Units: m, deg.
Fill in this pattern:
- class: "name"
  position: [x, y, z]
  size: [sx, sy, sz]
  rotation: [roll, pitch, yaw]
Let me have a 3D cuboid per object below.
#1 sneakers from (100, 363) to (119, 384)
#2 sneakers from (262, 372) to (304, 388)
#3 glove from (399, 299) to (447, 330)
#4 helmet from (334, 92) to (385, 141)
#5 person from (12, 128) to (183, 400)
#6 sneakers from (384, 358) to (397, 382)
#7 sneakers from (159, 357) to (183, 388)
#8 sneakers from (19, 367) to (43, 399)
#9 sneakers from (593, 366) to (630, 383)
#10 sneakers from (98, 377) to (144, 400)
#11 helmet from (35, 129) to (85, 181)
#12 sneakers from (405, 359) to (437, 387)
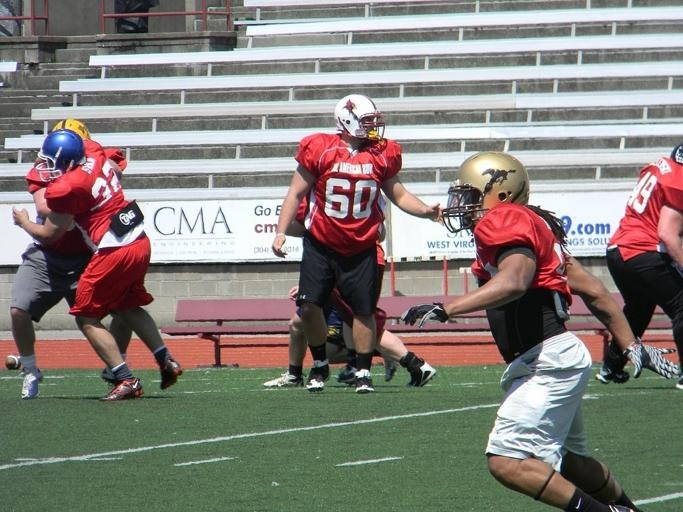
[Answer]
- class: "sneakers"
  position: [-2.327, 1.212, 15.351]
  size: [0.111, 0.122, 0.283]
  rotation: [20, 3, -29]
- class: "sneakers"
  position: [-0.579, 1.322, 16.048]
  size: [0.479, 0.173, 0.150]
  rotation: [3, -2, 1]
- class: "glove"
  position: [0.667, 0.489, 12.364]
  size: [0.323, 0.176, 0.130]
  rotation: [2, -1, -10]
- class: "helmet"
  position: [0.166, -1.388, 15.314]
  size: [0.571, 0.394, 0.402]
  rotation: [3, 6, 12]
- class: "person"
  position: [-2.357, 0.123, 15.092]
  size: [1.376, 2.636, 0.587]
  rotation: [-1, 13, 0]
- class: "sneakers"
  position: [0.510, 1.226, 16.177]
  size: [0.109, 0.277, 0.139]
  rotation: [6, 16, 17]
- class: "sneakers"
  position: [-1.712, 1.205, 15.245]
  size: [0.181, 0.377, 0.138]
  rotation: [37, 53, 1]
- class: "sneakers"
  position: [-3.137, 1.316, 15.402]
  size: [0.138, 0.360, 0.183]
  rotation: [-3, -13, 42]
- class: "sneakers"
  position: [2.776, 1.234, 15.610]
  size: [0.428, 0.171, 0.141]
  rotation: [-3, 9, 2]
- class: "sneakers"
  position: [-2.224, 1.351, 15.181]
  size: [0.521, 0.200, 0.163]
  rotation: [-2, 2, -14]
- class: "helmet"
  position: [-2.729, -1.001, 15.153]
  size: [0.581, 0.452, 0.432]
  rotation: [-10, 21, -6]
- class: "sneakers"
  position: [0.777, 1.256, 15.733]
  size: [0.199, 0.141, 0.429]
  rotation: [35, -39, -16]
